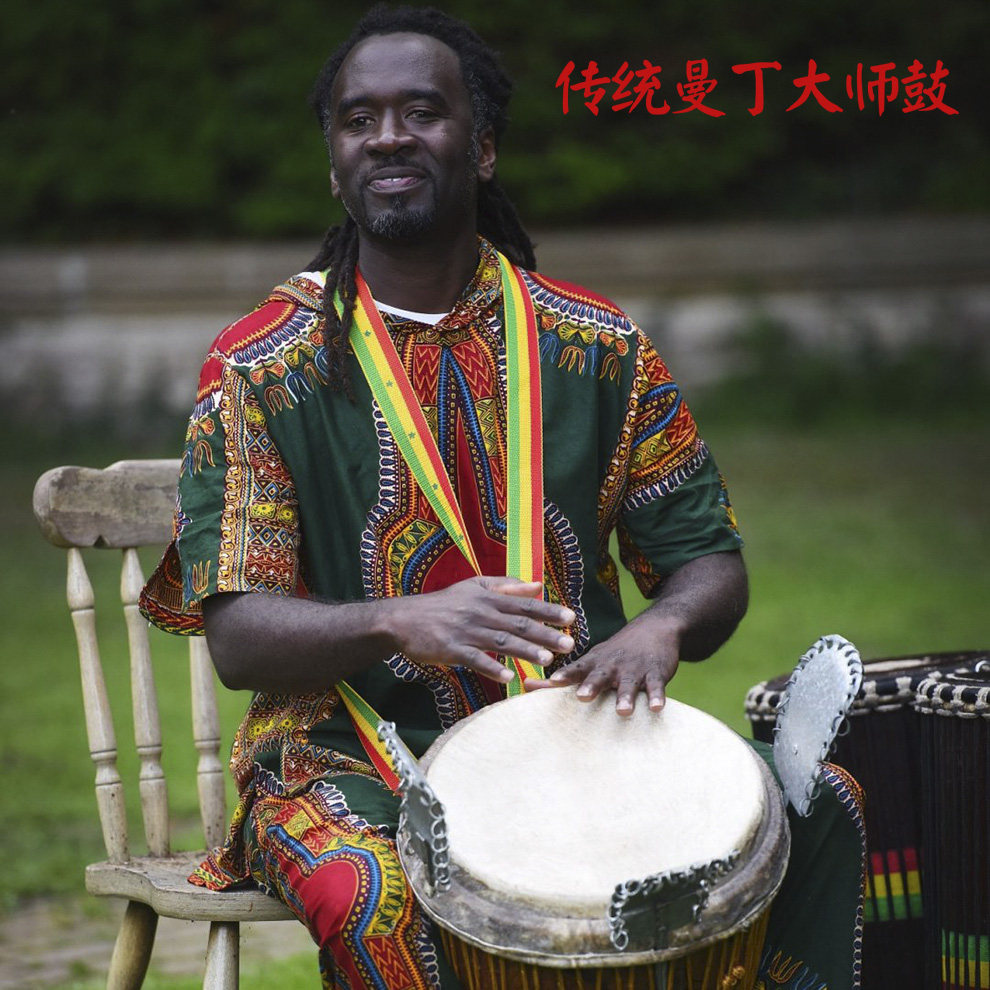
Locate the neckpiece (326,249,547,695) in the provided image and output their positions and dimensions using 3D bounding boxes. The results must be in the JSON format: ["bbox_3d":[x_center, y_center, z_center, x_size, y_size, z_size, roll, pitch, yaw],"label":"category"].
[{"bbox_3d":[-0.023,-0.088,7.024,0.466,1.249,0.026,-8,-9,-11],"label":"neckpiece"}]
